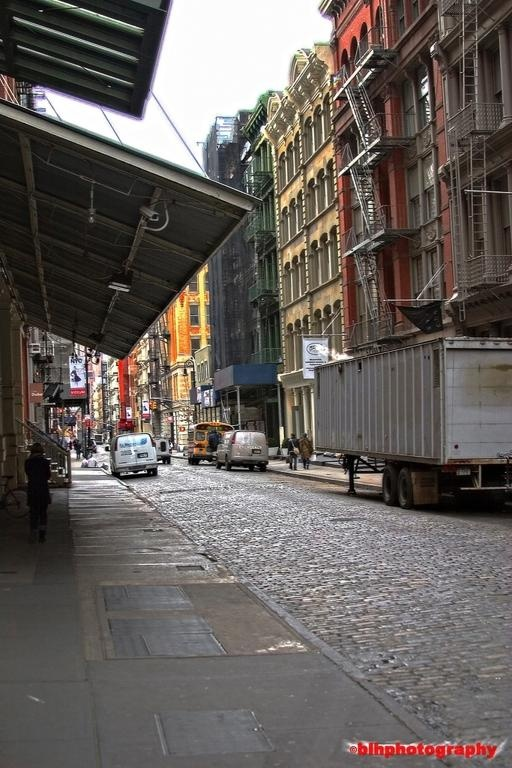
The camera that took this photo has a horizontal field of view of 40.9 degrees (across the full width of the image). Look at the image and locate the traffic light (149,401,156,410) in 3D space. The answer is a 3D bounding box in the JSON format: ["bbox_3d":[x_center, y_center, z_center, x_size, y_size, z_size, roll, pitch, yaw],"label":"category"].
[{"bbox_3d":[-14.761,3.061,98.958,1.148,1.595,1.127,1,-6,-13],"label":"traffic light"}]

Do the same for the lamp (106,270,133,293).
[{"bbox_3d":[-3.170,-2.445,16.180,0.487,0.489,0.630,-3,-2,-6],"label":"lamp"}]

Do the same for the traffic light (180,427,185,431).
[{"bbox_3d":[-10.135,6.284,95.225,0.681,0.637,0.690,3,-9,-27],"label":"traffic light"}]

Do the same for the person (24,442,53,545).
[{"bbox_3d":[-3.826,1.924,12.095,0.383,1.760,1.049,-2,-3,-18],"label":"person"}]

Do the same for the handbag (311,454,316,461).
[{"bbox_3d":[3.822,4.880,45.127,0.331,0.369,0.328,0,-1,11],"label":"handbag"}]

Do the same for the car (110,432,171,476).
[{"bbox_3d":[-6.862,3.815,38.231,2.056,1.679,3.097,-2,3,-14],"label":"car"}]

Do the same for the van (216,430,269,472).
[{"bbox_3d":[-0.865,4.076,41.808,1.982,2.481,3.889,-2,-3,-21],"label":"van"}]

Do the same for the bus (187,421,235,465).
[{"bbox_3d":[-3.568,4.276,50.863,2.404,2.315,3.836,0,-5,-13],"label":"bus"}]
